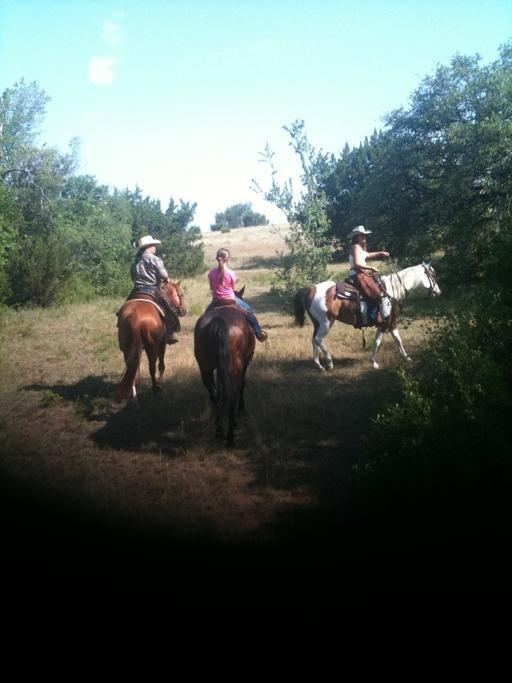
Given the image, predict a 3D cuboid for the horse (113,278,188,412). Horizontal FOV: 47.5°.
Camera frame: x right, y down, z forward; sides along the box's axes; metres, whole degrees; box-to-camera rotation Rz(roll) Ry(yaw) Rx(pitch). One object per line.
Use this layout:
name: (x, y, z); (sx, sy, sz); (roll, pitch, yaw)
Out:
horse: (-1.817, -0.085, 10.446); (0.604, 1.961, 2.663); (5, 14, 8)

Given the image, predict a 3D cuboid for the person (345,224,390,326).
person: (2.191, -1.388, 11.279); (0.743, 1.701, 1.517); (-2, 13, 10)

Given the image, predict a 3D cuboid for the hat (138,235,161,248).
hat: (-1.937, -1.809, 10.535); (0.375, 0.188, 0.459); (-16, 4, 10)
